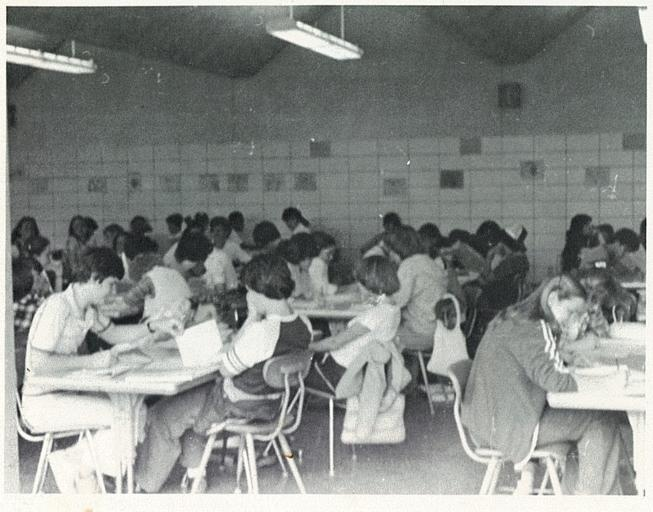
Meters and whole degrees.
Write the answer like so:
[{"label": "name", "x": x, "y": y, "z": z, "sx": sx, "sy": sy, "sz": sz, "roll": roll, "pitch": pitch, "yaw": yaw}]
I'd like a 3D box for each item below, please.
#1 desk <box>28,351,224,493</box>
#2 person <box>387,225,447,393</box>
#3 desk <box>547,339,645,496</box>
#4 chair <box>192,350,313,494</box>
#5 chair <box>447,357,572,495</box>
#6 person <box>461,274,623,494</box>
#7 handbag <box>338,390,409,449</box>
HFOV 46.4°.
[{"label": "desk", "x": -1.188, "y": 0.932, "z": 4.756, "sx": 0.827, "sy": 0.951, "sz": 0.903, "roll": -2, "pitch": -5, "yaw": 16}, {"label": "person", "x": 0.554, "y": 0.261, "z": 4.877, "sx": 0.394, "sy": 0.974, "sz": 0.501, "roll": -22, "pitch": 27, "yaw": -34}, {"label": "desk", "x": 1.650, "y": 0.851, "z": 4.575, "sx": 0.536, "sy": 0.619, "sz": 0.587, "roll": 0, "pitch": -4, "yaw": 7}, {"label": "chair", "x": -0.444, "y": 1.001, "z": 4.751, "sx": 0.716, "sy": 1.111, "sz": 0.797, "roll": -1, "pitch": -6, "yaw": 25}, {"label": "chair", "x": 1.178, "y": 1.060, "z": 5.011, "sx": 0.715, "sy": 1.166, "sz": 0.742, "roll": -3, "pitch": -5, "yaw": 14}, {"label": "person", "x": 1.397, "y": 0.893, "z": 4.800, "sx": 0.981, "sy": 1.644, "sz": 0.649, "roll": -3, "pitch": 12, "yaw": 5}, {"label": "handbag", "x": 0.307, "y": 0.987, "z": 4.648, "sx": 0.438, "sy": 0.522, "sz": 0.196, "roll": 2, "pitch": -15, "yaw": 4}]
